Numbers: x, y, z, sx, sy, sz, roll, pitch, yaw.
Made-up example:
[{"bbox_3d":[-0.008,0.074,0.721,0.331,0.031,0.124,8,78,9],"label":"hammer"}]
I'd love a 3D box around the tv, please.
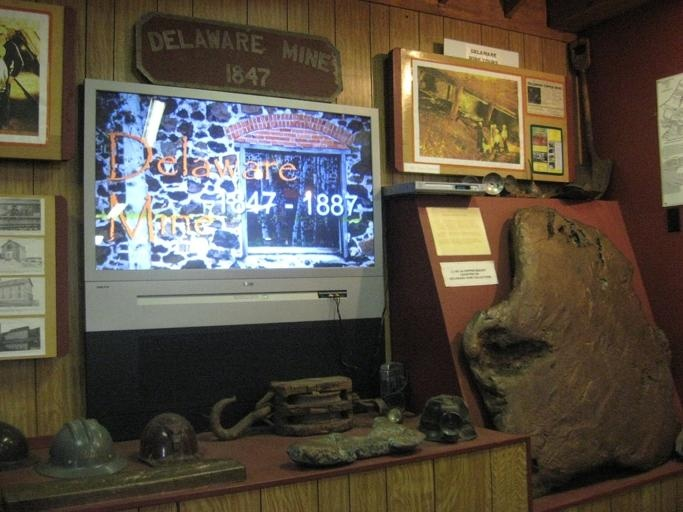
[{"bbox_3d":[-0.598,-0.243,3.044,1.482,0.994,0.127,1,-7,-23],"label":"tv"}]

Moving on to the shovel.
[{"bbox_3d":[1.630,-0.920,4.001,0.133,1.070,0.203,-1,-4,-39],"label":"shovel"}]
